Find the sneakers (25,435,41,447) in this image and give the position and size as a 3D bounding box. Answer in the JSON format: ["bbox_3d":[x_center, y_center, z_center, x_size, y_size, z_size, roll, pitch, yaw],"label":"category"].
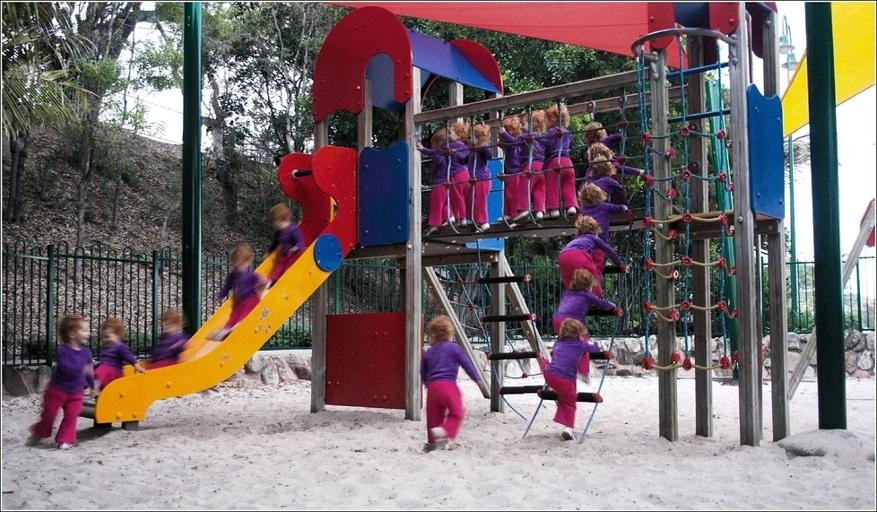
[{"bbox_3d":[-5.340,2.460,11.765,0.163,0.155,0.142,8,-5,-17],"label":"sneakers"}]

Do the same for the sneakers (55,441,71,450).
[{"bbox_3d":[-4.867,2.485,11.606,0.208,0.081,0.118,0,-3,-15],"label":"sneakers"}]

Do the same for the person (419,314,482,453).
[{"bbox_3d":[0.107,1.668,11.663,0.686,1.746,0.377,0,-2,-1],"label":"person"}]

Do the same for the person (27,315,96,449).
[{"bbox_3d":[-4.958,1.657,11.805,0.722,1.746,0.380,-1,-2,6],"label":"person"}]

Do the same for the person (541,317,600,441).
[{"bbox_3d":[1.716,1.624,11.712,0.684,1.606,0.222,-1,-2,8],"label":"person"}]

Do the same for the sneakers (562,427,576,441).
[{"bbox_3d":[1.709,2.361,11.705,0.095,0.106,0.259,3,-24,22],"label":"sneakers"}]

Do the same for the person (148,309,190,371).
[{"bbox_3d":[-3.699,1.147,12.237,0.537,0.792,0.438,1,-3,-23],"label":"person"}]

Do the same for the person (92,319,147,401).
[{"bbox_3d":[-4.595,1.347,12.358,0.690,0.956,0.946,-4,7,-28],"label":"person"}]
